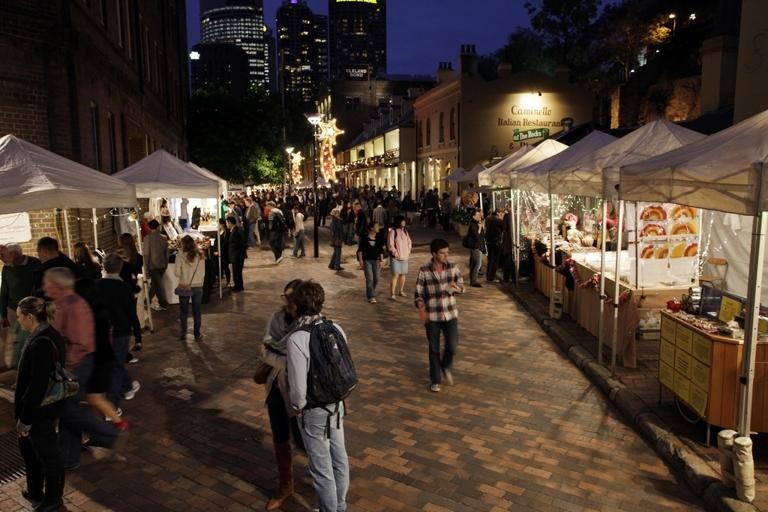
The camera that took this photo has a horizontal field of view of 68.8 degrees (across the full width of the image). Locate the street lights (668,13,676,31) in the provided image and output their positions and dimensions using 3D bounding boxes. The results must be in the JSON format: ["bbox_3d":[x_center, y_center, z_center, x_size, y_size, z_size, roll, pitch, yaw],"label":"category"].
[{"bbox_3d":[20.710,-16.824,40.121,0.385,1.070,0.803,-2,13,-7],"label":"street lights"}]

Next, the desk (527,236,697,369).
[{"bbox_3d":[4.616,0.674,12.603,1.678,1.808,6.240,0,14,0],"label":"desk"}]

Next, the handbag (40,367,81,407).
[{"bbox_3d":[-3.797,1.544,6.586,0.328,0.429,0.182,26,-13,-35],"label":"handbag"}]

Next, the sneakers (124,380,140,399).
[{"bbox_3d":[-4.094,2.200,9.127,0.101,0.124,0.275,20,37,-1],"label":"sneakers"}]
